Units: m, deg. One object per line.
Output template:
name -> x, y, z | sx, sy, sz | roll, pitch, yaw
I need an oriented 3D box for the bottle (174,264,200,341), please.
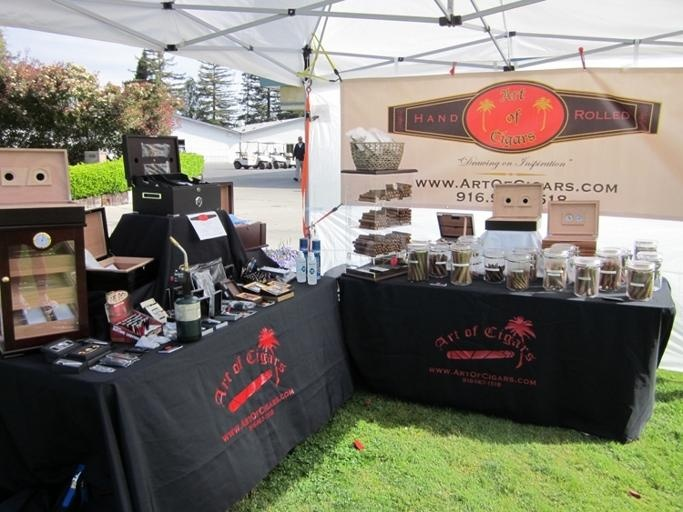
bottle -> -0.795, 0.251, 2.348 | 0.123, 0.367, 0.153 | -3, 9, -20

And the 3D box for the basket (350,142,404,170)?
basket -> 0.261, -0.730, 3.403 | 0.308, 0.146, 0.233 | -1, 2, -35
